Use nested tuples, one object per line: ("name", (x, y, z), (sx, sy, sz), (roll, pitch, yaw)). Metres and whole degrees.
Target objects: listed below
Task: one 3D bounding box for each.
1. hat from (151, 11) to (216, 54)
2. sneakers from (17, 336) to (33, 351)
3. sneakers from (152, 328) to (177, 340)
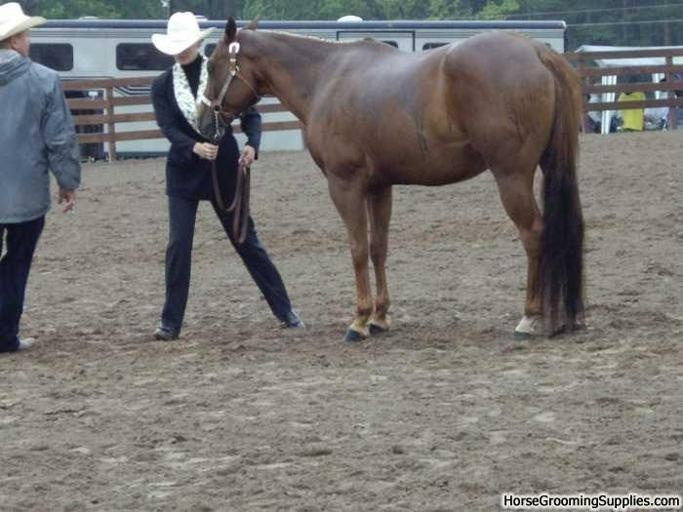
("hat", (-1.415, -2.005, 12.307), (0.425, 0.209, 0.479), (-17, 19, 22))
("sneakers", (-2.846, 0.767, 12.302), (0.060, 0.107, 0.162), (12, 31, 29))
("sneakers", (-1.590, 0.696, 12.425), (0.215, 0.097, 0.092), (14, -6, -22))
